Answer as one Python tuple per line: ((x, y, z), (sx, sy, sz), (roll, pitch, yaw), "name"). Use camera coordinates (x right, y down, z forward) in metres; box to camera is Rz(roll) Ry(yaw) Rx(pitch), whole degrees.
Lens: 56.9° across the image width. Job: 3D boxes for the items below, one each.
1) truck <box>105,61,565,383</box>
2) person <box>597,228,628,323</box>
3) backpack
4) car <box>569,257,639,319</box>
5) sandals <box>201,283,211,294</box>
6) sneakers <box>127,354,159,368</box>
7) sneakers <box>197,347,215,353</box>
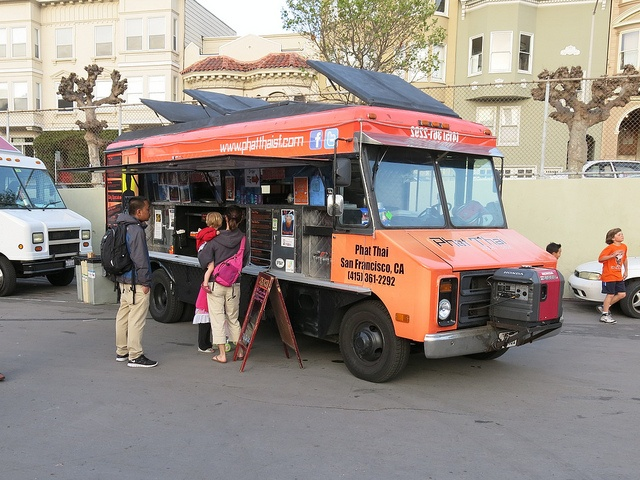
((-0.843, -0.635, 10.107), (9.406, 4.735, 3.294), (8, 12, 37), "truck")
((5.692, 0.696, 11.524), (0.441, 1.819, 0.520), (9, 13, 39), "person")
((-2.889, 0.317, 8.456), (0.577, 1.129, 0.234), (6, 11, 27), "backpack")
((5.869, 1.012, 12.197), (0.856, 0.694, 1.688), (-3, 7, -24), "car")
((-1.656, 0.710, 8.658), (0.195, 0.080, 0.072), (15, 10, 35), "sandals")
((-2.582, 1.775, 8.654), (0.419, 0.180, 0.163), (1, -1, -8), "sneakers")
((-1.804, 1.746, 9.352), (0.233, 0.094, 0.083), (0, 0, 1), "sneakers")
